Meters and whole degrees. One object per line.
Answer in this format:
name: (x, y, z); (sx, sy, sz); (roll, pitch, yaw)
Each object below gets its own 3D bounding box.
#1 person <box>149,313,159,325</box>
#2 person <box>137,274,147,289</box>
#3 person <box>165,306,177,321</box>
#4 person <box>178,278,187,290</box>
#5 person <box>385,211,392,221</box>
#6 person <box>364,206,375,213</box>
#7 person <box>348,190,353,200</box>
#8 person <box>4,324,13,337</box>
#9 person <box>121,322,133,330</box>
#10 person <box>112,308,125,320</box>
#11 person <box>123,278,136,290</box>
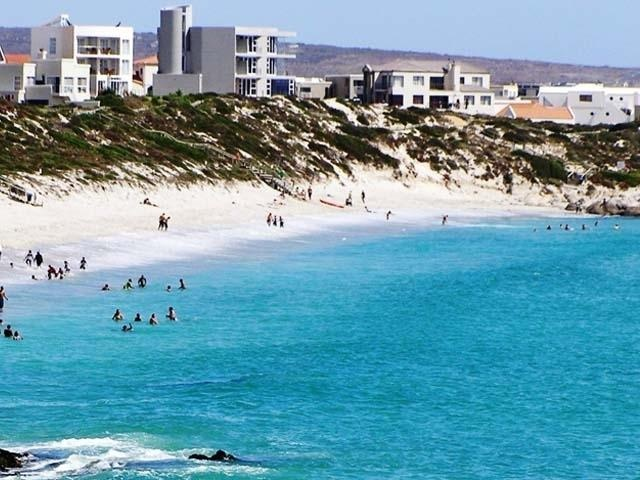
person: (-11.378, 5.372, 91.678); (0.354, 0.938, 0.447); (5, 6, 25)
person: (-12.834, 2.952, 97.103); (0.649, 0.801, 1.632); (0, 1, -6)
person: (-10.250, 5.040, 92.806); (0.632, 1.414, 0.650); (14, 19, 36)
person: (-9.913, 3.176, 97.989); (0.567, 0.684, 1.832); (0, 1, -7)
person: (7.307, -2.393, 130.455); (0.387, 1.155, 0.498); (-4, -16, 6)
person: (5.538, -2.891, 133.327); (1.032, 0.167, 0.588); (15, 23, 12)
person: (3.671, -4.367, 136.185); (0.322, 0.831, 0.397); (-2, 29, -1)
person: (-20.492, 5.801, 87.206); (0.743, 0.936, 0.431); (2, 13, -1)
person: (-13.039, 5.691, 90.239); (0.560, 0.327, 0.701); (0, 2, -2)
person: (-13.741, 4.937, 91.052); (0.612, 0.709, 0.275); (3, 15, -3)
person: (-13.733, 3.124, 96.178); (0.758, 0.649, 1.540); (0, 1, -4)
